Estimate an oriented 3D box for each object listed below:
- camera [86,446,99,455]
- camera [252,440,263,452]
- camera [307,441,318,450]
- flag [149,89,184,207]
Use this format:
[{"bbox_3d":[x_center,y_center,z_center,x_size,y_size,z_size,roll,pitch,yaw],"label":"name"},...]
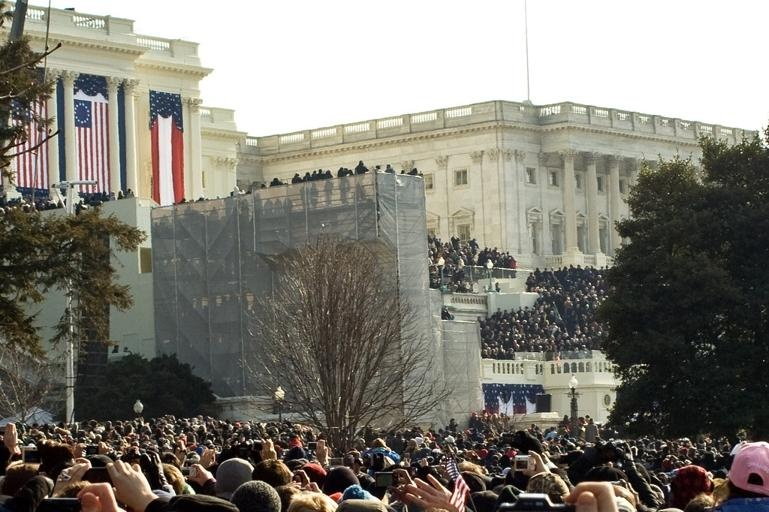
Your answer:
[{"bbox_3d":[-8.104,5.353,52.884,0.274,0.229,0.450,-2,-8,-1],"label":"camera"},{"bbox_3d":[-3.362,5.019,50.839,0.354,0.308,0.254,6,-15,-24],"label":"camera"},{"bbox_3d":[-2.142,5.626,56.831,0.339,0.212,0.183,6,-12,-45],"label":"camera"},{"bbox_3d":[-12.547,-6.150,110.010,1.942,6.952,0.437,1,-19,-16],"label":"flag"}]
